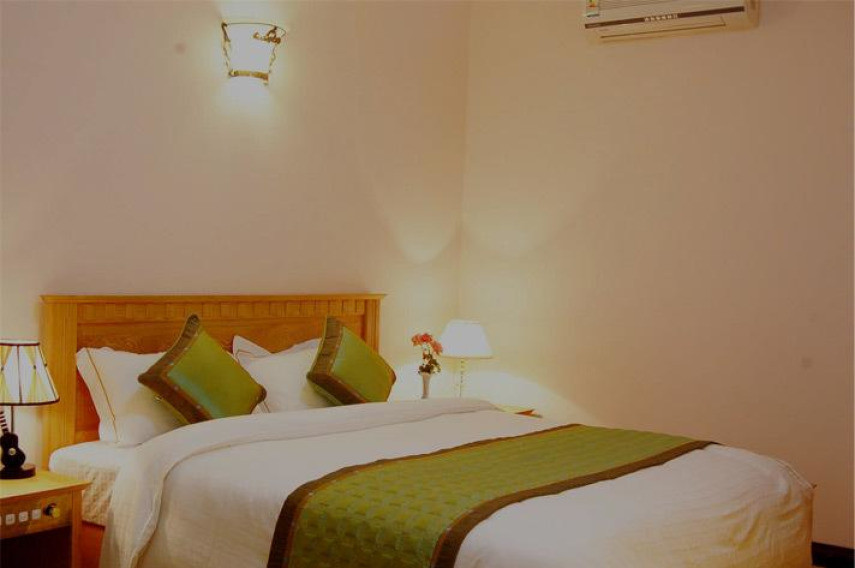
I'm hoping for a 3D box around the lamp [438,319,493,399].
[{"bbox_3d":[0.368,0.626,5.205,0.597,0.722,0.601,0,1,8],"label":"lamp"}]
